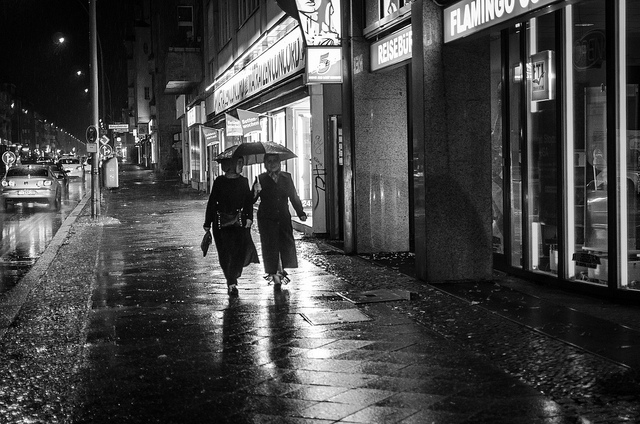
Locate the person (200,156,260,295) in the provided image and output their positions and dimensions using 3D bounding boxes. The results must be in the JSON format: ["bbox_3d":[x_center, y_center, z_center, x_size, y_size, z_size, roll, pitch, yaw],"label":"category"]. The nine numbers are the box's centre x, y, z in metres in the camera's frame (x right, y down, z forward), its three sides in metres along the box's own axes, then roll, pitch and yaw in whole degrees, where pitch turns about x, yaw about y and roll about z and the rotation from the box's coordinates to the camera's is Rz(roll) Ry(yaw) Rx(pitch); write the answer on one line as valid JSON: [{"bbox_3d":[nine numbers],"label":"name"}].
[{"bbox_3d":[-1.379,0.187,9.577,0.818,2.082,0.343,1,3,-6],"label":"person"}]

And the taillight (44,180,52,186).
[{"bbox_3d":[-10.981,-1.193,24.820,0.065,0.227,0.319,4,5,35],"label":"taillight"}]

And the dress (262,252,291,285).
[{"bbox_3d":[-0.701,0.945,10.043,0.394,0.532,0.292,2,3,4],"label":"dress"}]

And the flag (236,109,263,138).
[{"bbox_3d":[-2.130,-2.716,18.520,0.679,0.721,0.636,2,4,4],"label":"flag"}]

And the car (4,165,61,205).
[{"bbox_3d":[-11.764,-1.187,24.985,1.687,1.438,2.083,4,5,31],"label":"car"}]

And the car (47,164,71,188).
[{"bbox_3d":[-14.477,-2.040,34.080,1.413,1.052,3.064,-1,9,-17],"label":"car"}]
